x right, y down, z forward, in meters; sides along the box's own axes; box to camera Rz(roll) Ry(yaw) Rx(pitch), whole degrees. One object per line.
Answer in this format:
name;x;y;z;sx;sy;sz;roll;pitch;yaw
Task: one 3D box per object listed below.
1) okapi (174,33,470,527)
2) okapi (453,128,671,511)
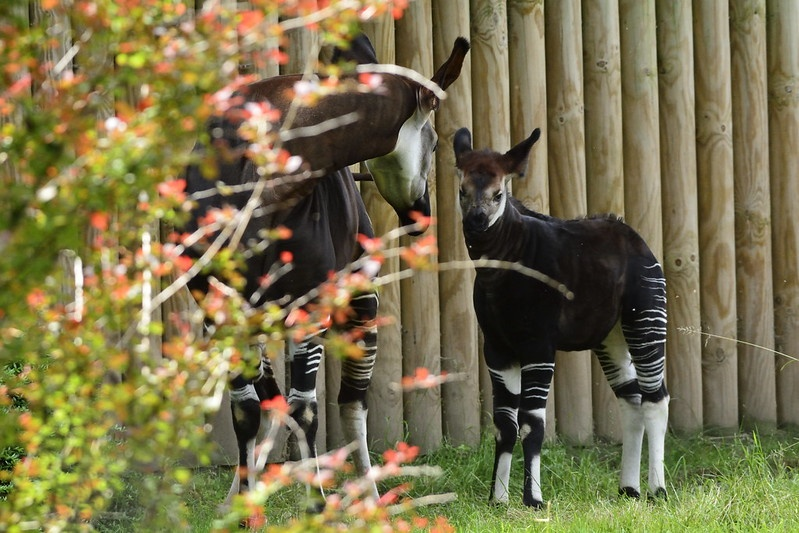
okapi;-0.359;0.131;4.538;0.559;1.786;2.268;11;-11;-20
okapi;0.720;0.305;4.747;0.547;1.696;2.000;3;-2;40
